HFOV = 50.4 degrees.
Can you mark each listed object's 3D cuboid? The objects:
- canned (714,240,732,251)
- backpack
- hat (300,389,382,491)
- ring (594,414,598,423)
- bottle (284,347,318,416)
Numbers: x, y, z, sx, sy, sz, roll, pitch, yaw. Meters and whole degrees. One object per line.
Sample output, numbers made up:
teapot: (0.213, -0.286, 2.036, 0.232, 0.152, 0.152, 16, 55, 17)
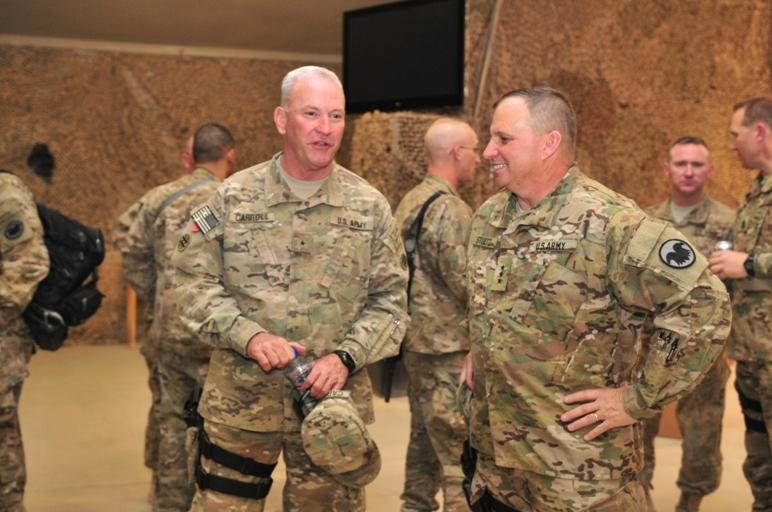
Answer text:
canned: (2.261, -0.069, 5.528, 0.094, 0.058, 0.087, -3, 6, 1)
backpack: (-2.119, 0.009, 5.634, 0.530, 1.050, 0.890, -18, 10, -31)
hat: (-0.219, 0.990, 4.623, 0.414, 0.552, 0.189, -30, 25, 12)
ring: (1.093, 0.843, 4.286, 0.015, 0.032, 0.026, -3, 0, -18)
bottle: (-0.480, 0.703, 4.561, 0.097, 0.332, 0.264, 0, -5, -26)
